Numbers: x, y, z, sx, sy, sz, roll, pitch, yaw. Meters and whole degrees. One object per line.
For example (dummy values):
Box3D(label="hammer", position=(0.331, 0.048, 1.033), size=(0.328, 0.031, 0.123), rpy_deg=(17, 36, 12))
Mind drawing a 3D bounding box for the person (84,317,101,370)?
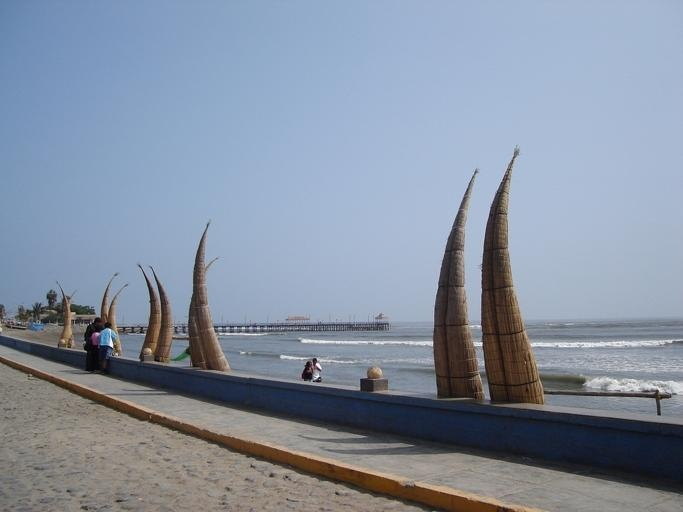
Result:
Box3D(label="person", position=(-8.298, 2.869, 15.560), size=(0.570, 1.623, 0.477), rpy_deg=(8, 7, -38))

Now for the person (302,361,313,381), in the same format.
Box3D(label="person", position=(-1.101, 3.714, 15.029), size=(0.328, 0.620, 1.188), rpy_deg=(3, -8, -3))

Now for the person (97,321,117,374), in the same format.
Box3D(label="person", position=(-7.569, 2.925, 14.930), size=(0.513, 1.622, 1.436), rpy_deg=(6, -8, -27))
